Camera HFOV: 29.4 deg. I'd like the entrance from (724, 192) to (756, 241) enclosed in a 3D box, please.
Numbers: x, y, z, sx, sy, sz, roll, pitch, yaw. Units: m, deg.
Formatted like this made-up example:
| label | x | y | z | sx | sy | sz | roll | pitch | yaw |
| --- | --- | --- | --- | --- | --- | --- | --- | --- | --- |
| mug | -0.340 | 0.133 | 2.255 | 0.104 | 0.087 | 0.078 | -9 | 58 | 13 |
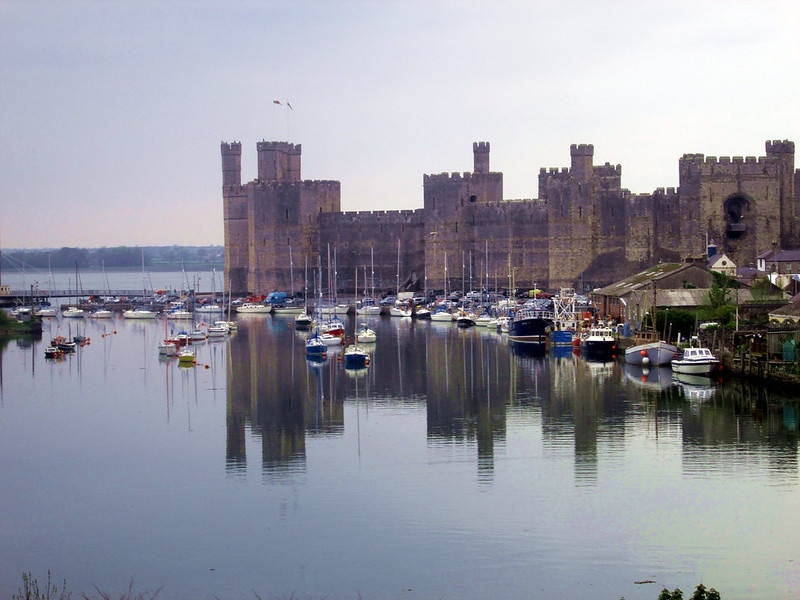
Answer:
| label | x | y | z | sx | sy | sz | roll | pitch | yaw |
| --- | --- | --- | --- | --- | --- | --- | --- | --- | --- |
| entrance | 19.821 | -4.950 | 88.794 | 1.620 | 2.570 | 1.190 | 1 | 13 | 13 |
